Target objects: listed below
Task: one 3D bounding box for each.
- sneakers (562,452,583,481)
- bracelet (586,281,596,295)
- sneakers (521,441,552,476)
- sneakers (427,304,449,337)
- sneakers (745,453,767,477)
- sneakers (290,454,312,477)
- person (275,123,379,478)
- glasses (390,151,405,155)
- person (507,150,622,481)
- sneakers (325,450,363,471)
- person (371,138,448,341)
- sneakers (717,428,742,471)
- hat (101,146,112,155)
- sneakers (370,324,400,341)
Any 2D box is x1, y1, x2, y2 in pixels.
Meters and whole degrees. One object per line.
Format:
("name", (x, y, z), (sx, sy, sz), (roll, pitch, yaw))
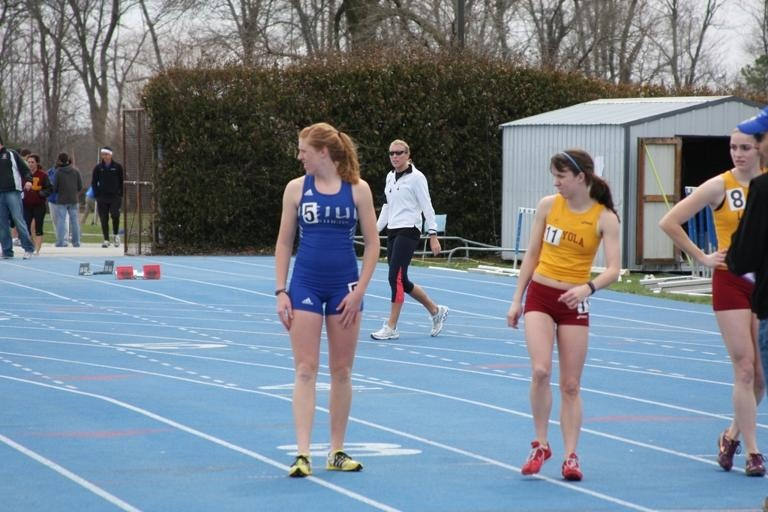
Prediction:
("sneakers", (1.651, 1.858, 8.909), (0.181, 0.237, 0.150), (-1, 5, 1))
("bracelet", (1.839, 0.300, 9.065), (0.078, 0.104, 0.114), (-9, -34, -3))
("sneakers", (1.327, 1.803, 9.042), (0.284, 0.303, 0.263), (-2, 5, -15))
("sneakers", (0.799, 0.933, 14.676), (0.270, 0.488, 0.190), (10, 11, -8))
("sneakers", (3.265, 1.869, 8.981), (0.112, 0.116, 0.278), (-2, -3, 8))
("sneakers", (-0.714, 1.841, 8.804), (0.113, 0.116, 0.262), (-1, -9, 5))
("person", (-0.480, 0.371, 8.963), (0.890, 3.084, 0.542), (-2, 5, -6))
("glasses", (0.179, -1.420, 13.962), (0.226, 0.055, 0.098), (1, 5, 22))
("person", (1.621, 0.498, 9.107), (0.982, 2.910, 0.765), (-1, 5, -2))
("sneakers", (-0.346, 1.831, 9.035), (0.313, 0.132, 0.151), (0, -2, 20))
("person", (0.341, -0.236, 14.361), (1.011, 2.822, 1.102), (-1, 5, 8))
("sneakers", (3.132, 1.788, 9.256), (0.153, 0.426, 0.210), (11, -6, -23))
("hat", (-6.954, -2.682, 25.711), (0.301, 0.178, 0.303), (18, 12, 39))
("sneakers", (0.037, 1.100, 14.281), (0.447, 0.206, 0.169), (0, 3, -7))
